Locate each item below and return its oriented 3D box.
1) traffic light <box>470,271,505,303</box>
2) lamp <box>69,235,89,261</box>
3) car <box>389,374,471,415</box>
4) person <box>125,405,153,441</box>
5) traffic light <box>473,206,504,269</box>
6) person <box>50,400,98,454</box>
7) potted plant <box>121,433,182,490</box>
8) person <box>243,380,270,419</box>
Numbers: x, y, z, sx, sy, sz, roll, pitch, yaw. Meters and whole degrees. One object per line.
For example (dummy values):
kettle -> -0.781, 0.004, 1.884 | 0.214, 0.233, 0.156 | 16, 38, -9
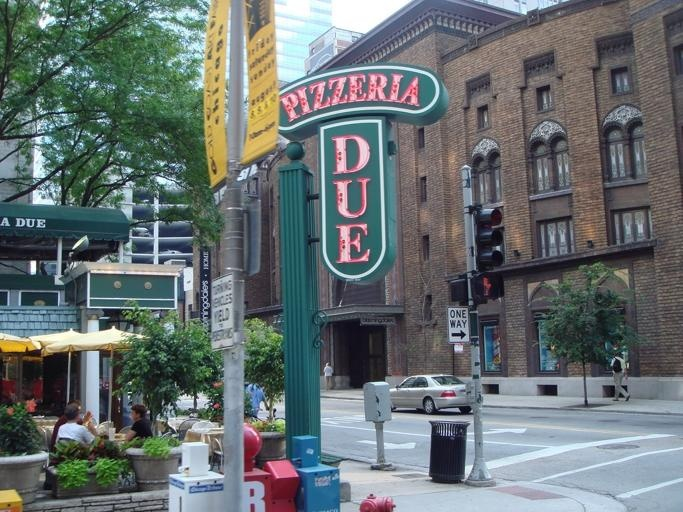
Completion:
traffic light -> 3.867, 0.759, 24.963 | 0.854, 0.703, 0.266 | 0, -8, -12
lamp -> -9.920, -0.383, 35.866 | 0.320, 0.309, 1.056 | 21, -49, -40
car -> 3.670, 5.737, 39.441 | 0.902, 1.587, 3.436 | 6, -11, -43
person -> -5.217, 4.343, 24.402 | 0.677, 1.060, 0.858 | 5, 9, -1
traffic light -> 3.935, -0.513, 25.309 | 0.734, 1.766, 0.729 | -2, -8, 6
person -> -6.920, 4.367, 24.486 | 1.051, 1.253, 2.868 | 1, -9, -16
potted plant -> -4.586, 5.032, 23.090 | 1.266, 0.996, 1.259 | -1, -15, 1
person -> -3.283, 5.443, 36.935 | 0.621, 1.310, 0.327 | -2, 28, 8
